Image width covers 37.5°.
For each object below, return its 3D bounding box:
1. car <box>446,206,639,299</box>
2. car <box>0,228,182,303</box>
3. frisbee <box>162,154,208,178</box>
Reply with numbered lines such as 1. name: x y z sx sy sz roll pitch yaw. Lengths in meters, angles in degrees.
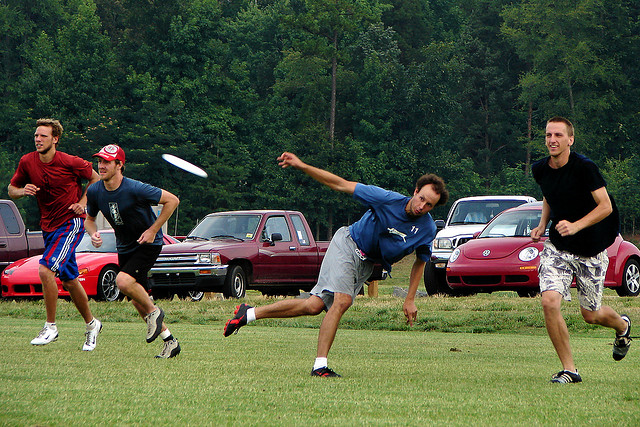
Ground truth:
1. car: 5.387 0.911 23.033 4.071 1.551 2.418 5 -7 -43
2. car: -6.233 1.432 23.590 2.415 1.346 5.116 -3 -4 34
3. frisbee: -2.501 -0.901 17.415 0.650 0.044 0.618 20 -5 13
